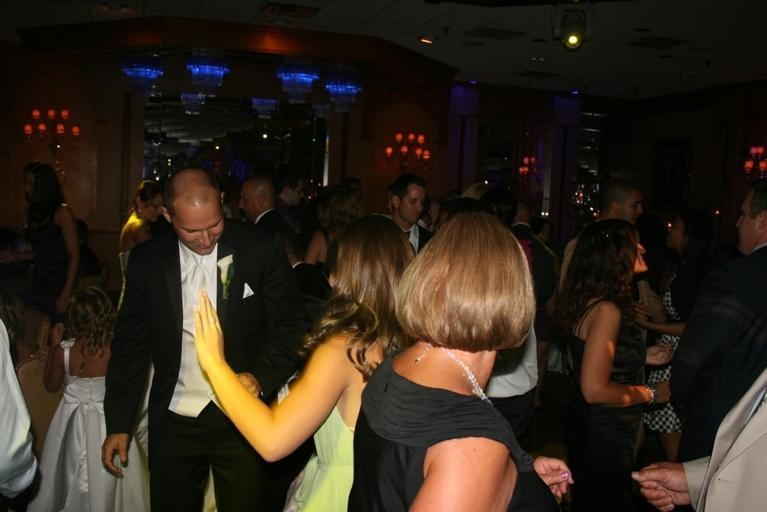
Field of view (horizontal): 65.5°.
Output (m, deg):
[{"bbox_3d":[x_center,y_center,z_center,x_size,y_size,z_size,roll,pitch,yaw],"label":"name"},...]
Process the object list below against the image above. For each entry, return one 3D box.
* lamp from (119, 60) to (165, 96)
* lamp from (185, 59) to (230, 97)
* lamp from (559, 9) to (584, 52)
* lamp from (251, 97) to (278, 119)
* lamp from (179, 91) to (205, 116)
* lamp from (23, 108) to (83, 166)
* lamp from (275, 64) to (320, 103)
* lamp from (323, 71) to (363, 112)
[{"bbox_3d":[-4.056,-2.943,9.961,0.543,0.422,0.550,9,12,41],"label":"lamp"},{"bbox_3d":[-2.895,-2.945,9.795,0.711,0.512,0.718,-1,7,-28],"label":"lamp"},{"bbox_3d":[2.550,-3.059,7.974,0.332,0.661,0.649,5,7,16],"label":"lamp"},{"bbox_3d":[-2.388,-2.978,11.915,0.388,0.401,0.384,-1,1,-3],"label":"lamp"},{"bbox_3d":[-3.655,-2.876,11.341,0.508,0.601,0.513,-1,3,-21],"label":"lamp"},{"bbox_3d":[-6.240,-2.211,11.263,1.014,1.092,1.046,-1,0,-24],"label":"lamp"},{"bbox_3d":[-1.526,-3.039,10.447,0.820,0.632,0.839,11,18,26],"label":"lamp"},{"bbox_3d":[-0.736,-2.967,10.713,0.699,0.769,0.709,5,10,8],"label":"lamp"}]
